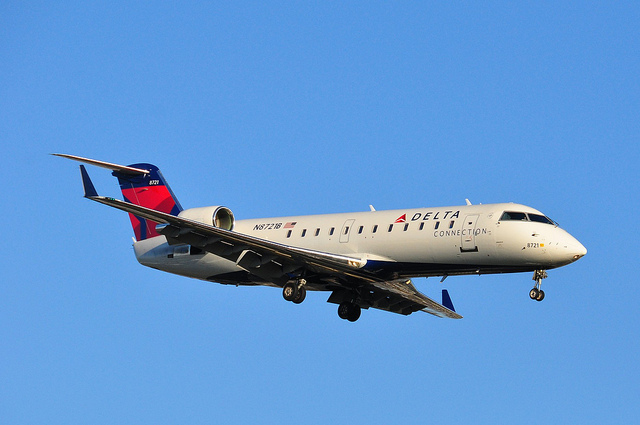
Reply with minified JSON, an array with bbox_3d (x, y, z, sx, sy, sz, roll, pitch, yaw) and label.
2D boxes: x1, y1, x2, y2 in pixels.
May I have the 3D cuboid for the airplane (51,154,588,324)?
[{"bbox_3d":[-0.239,0.478,37.050,17.787,4.623,16.026,-4,-13,27],"label":"airplane"}]
